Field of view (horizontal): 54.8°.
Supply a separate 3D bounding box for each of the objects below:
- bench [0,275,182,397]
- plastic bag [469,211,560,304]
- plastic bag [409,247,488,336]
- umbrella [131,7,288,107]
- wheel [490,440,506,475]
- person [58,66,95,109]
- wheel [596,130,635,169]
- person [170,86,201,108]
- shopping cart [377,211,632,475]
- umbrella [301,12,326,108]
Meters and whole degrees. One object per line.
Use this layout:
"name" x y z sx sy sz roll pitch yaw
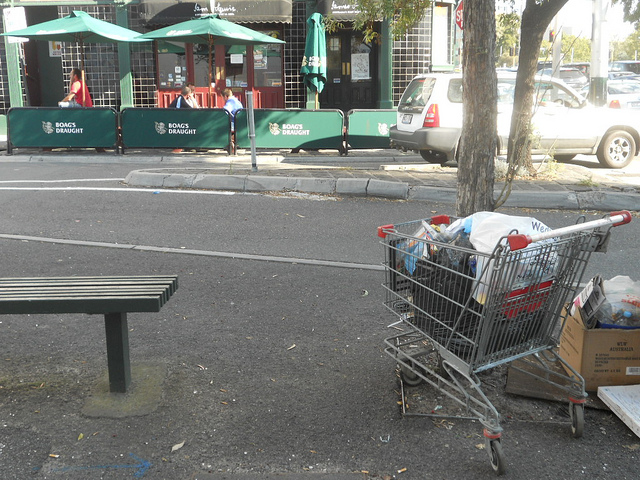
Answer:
"bench" -1.690 0.742 4.632 1.147 0.721 0.779 -1 19 -5
"plastic bag" 1.264 0.213 3.875 0.369 0.620 0.622 -9 13 -11
"plastic bag" 0.896 0.339 4.227 0.487 0.512 0.299 -3 21 -12
"umbrella" -3.082 -5.043 17.286 2.037 1.599 2.100 -3 1 16
"wheel" 1.104 1.365 3.864 0.050 0.185 0.155 -7 19 -10
"person" -6.653 -4.060 16.604 0.701 1.138 0.860 0 10 -7
"wheel" 6.730 -2.106 14.098 0.760 0.839 0.286 1 8 -19
"person" -3.557 -3.689 16.029 0.583 0.516 0.873 -5 19 -13
"shopping cart" 1.244 0.312 5.005 1.248 2.021 2.058 -8 18 -29
"umbrella" -0.206 -5.249 18.107 0.694 2.647 1.351 0 18 0
